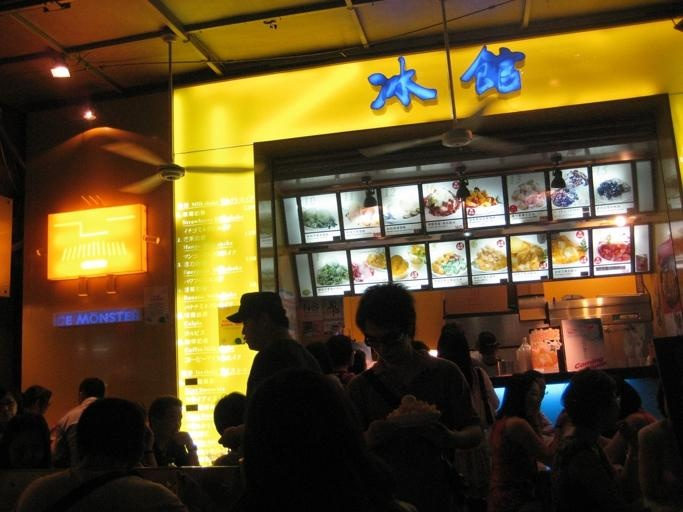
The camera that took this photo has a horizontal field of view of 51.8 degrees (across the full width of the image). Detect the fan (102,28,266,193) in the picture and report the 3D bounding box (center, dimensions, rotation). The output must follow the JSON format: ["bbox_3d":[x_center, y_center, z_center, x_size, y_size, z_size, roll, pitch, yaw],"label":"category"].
[{"bbox_3d":[-1.950,-1.403,7.464,1.586,1.438,0.762,-5,-4,21],"label":"fan"}]

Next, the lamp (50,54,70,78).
[{"bbox_3d":[-2.863,-1.940,7.138,0.133,0.231,0.122,-10,-43,-12],"label":"lamp"}]

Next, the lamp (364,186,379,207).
[{"bbox_3d":[0.301,-0.625,7.501,0.148,0.213,0.163,-4,-4,2],"label":"lamp"}]

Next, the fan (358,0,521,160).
[{"bbox_3d":[0.935,-1.773,7.326,1.420,1.618,1.685,-3,-6,3],"label":"fan"}]
